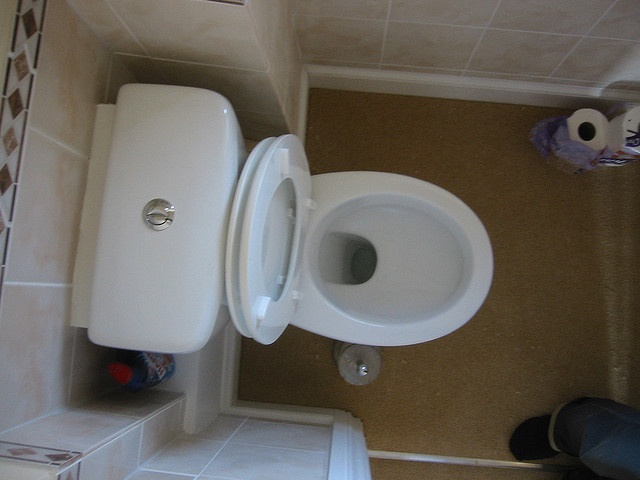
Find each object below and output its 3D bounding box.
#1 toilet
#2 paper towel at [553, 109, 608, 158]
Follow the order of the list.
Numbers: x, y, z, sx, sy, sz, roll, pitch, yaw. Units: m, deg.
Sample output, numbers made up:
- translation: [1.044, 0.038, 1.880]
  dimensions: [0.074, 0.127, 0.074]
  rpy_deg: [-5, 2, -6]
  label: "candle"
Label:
- translation: [-0.064, 0.014, 1.700]
  dimensions: [1.094, 0.770, 0.682]
  rpy_deg: [6, 83, 4]
  label: "toilet"
- translation: [0.934, -0.376, 1.890]
  dimensions: [0.126, 0.082, 0.141]
  rpy_deg: [-2, 83, 3]
  label: "paper towel"
